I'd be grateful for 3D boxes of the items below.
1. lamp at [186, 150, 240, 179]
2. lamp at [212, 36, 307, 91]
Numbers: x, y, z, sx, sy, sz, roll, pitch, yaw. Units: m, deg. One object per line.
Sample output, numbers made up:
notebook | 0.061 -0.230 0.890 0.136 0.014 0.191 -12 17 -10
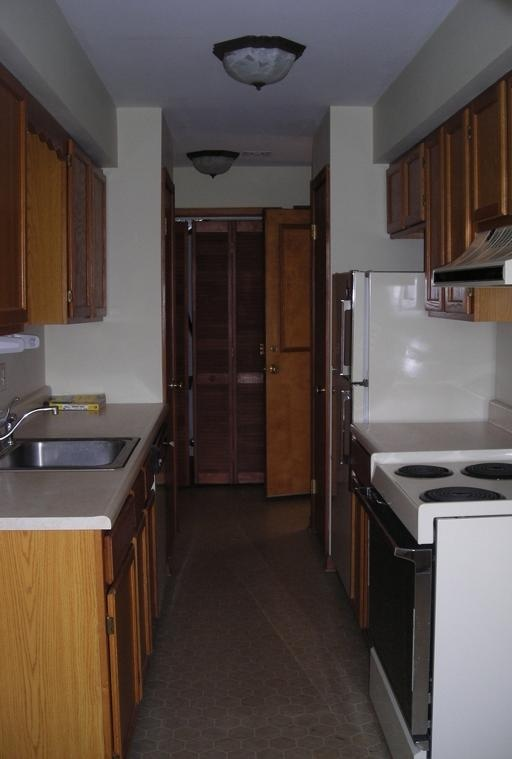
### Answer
lamp | -0.277 -1.443 3.952 0.199 0.107 0.206 -5 11 -29
lamp | 0.010 -1.143 2.192 0.341 0.150 0.238 0 4 -5
